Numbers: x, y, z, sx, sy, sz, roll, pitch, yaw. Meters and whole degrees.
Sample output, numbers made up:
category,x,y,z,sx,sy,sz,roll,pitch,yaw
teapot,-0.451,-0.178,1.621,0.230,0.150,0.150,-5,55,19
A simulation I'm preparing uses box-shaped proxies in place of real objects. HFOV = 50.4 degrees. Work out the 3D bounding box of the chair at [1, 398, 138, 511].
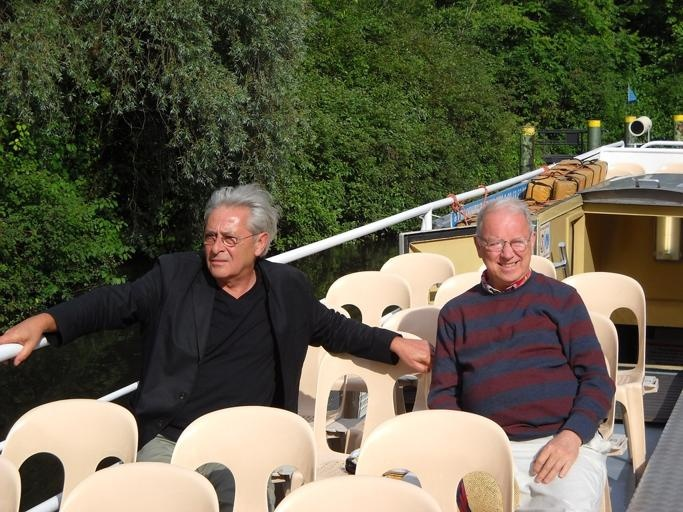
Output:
category,x,y,z,sx,sy,sz,roll,pitch,yaw
chair,-1.063,0.669,2.964,0.353,0.589,0.413,7,21,-8

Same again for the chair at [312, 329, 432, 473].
category,x,y,z,sx,sy,sz,roll,pitch,yaw
chair,0.092,0.730,3.629,0.428,0.963,0.602,1,-8,0

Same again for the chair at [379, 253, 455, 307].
category,x,y,z,sx,sy,sz,roll,pitch,yaw
chair,0.500,0.091,4.914,0.338,0.569,0.389,-2,1,-2

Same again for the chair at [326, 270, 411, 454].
category,x,y,z,sx,sy,sz,roll,pitch,yaw
chair,0.199,0.472,4.660,0.561,1.210,0.810,0,-3,3

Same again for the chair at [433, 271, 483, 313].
category,x,y,z,sx,sy,sz,roll,pitch,yaw
chair,0.689,0.174,4.311,0.195,0.312,0.221,-5,1,1
